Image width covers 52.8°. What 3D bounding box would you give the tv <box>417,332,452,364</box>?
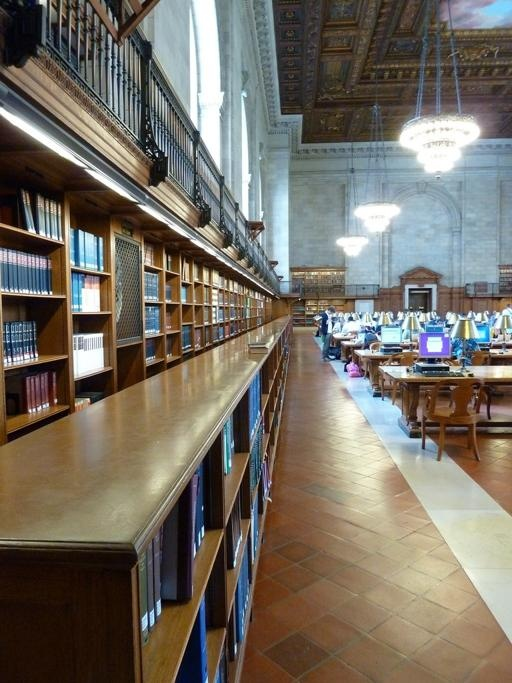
[{"bbox_3d":[2.150,0.071,6.184,0.328,0.381,0.135,1,1,4],"label":"tv"}]

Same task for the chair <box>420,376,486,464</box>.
[{"bbox_3d":[1.896,0.684,4.965,0.415,0.893,0.520,0,12,12],"label":"chair"}]

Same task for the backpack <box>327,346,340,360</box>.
[{"bbox_3d":[2.250,0.319,14.836,0.310,0.393,0.305,3,-2,-21],"label":"backpack"}]

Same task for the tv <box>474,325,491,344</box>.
[{"bbox_3d":[3.719,-0.125,8.444,0.151,0.369,0.317,0,0,22],"label":"tv"}]

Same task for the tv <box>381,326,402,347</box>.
[{"bbox_3d":[2.274,-0.101,8.799,0.399,0.543,0.250,0,2,2],"label":"tv"}]
